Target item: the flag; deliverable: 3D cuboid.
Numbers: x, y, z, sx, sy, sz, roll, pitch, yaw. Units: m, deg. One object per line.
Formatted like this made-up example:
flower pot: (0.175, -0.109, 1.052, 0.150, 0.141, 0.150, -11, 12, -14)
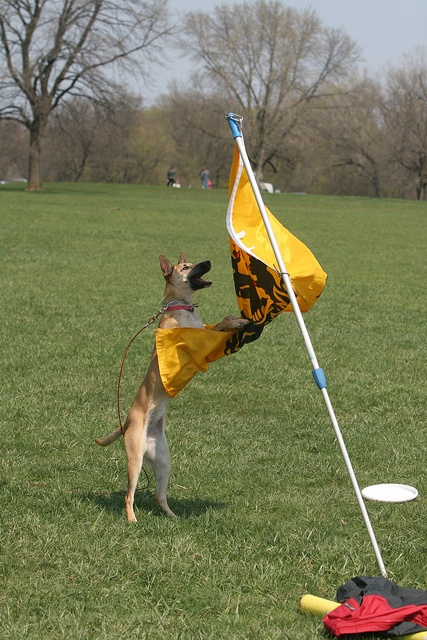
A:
flag: (0.199, -0.468, 9.248, 1.774, 3.339, 0.349, -9, 40, -1)
